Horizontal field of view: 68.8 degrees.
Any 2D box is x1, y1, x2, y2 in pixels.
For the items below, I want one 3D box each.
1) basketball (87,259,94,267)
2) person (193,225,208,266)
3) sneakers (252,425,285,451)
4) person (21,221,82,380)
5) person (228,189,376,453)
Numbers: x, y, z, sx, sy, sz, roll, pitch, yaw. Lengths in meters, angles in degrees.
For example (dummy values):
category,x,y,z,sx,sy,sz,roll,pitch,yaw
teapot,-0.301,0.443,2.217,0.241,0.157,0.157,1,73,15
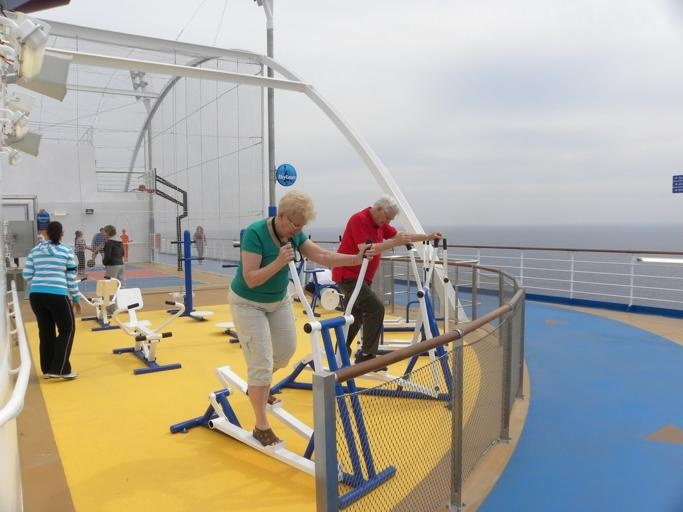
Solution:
category,x,y,z,sx,sy,sz,roll,pitch,yaw
basketball,-6.052,0.159,11.986,0.119,0.171,0.166,-1,2,-37
person,-3.497,-0.373,12.231,0.291,0.781,0.890,0,2,-16
sneakers,-0.641,1.557,4.325,0.238,0.107,0.134,5,5,43
person,-3.609,0.537,6.185,0.577,1.924,0.472,0,3,-14
person,-0.461,0.565,4.298,0.847,2.190,0.799,-1,3,-36
